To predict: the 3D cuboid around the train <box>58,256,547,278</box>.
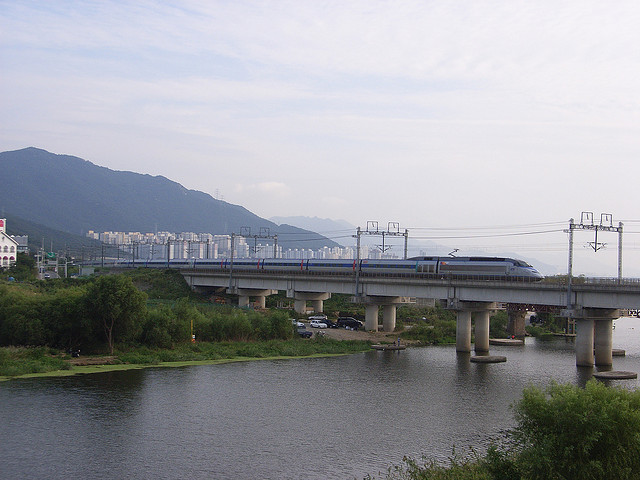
[{"bbox_3d":[-8.403,4.664,167.455,106.163,5.702,6.405,-1,-1,33],"label":"train"}]
